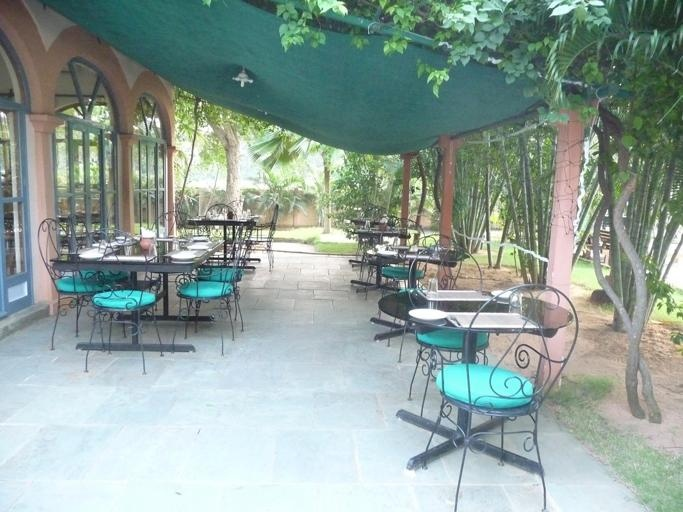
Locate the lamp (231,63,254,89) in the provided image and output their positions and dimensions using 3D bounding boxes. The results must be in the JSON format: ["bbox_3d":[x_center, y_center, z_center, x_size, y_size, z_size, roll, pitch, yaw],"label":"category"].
[{"bbox_3d":[-1.015,-1.829,5.604,0.173,0.075,0.280,6,-32,-2],"label":"lamp"}]

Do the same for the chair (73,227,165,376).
[{"bbox_3d":[-1.951,0.387,4.814,0.656,1.186,0.557,1,7,-3],"label":"chair"}]

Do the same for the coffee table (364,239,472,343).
[{"bbox_3d":[0.591,0.442,5.576,0.615,0.607,0.613,21,4,1],"label":"coffee table"}]

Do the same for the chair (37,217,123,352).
[{"bbox_3d":[-2.568,0.256,5.430,0.755,1.217,0.750,2,2,11],"label":"chair"}]

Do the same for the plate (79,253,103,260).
[{"bbox_3d":[-2.218,-0.008,4.800,0.191,0.041,0.167,0,7,-19],"label":"plate"}]

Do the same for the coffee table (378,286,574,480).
[{"bbox_3d":[0.849,0.712,3.554,0.889,1.163,0.942,1,8,-13],"label":"coffee table"}]

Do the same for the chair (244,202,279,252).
[{"bbox_3d":[-1.447,-0.452,10.627,0.447,0.719,0.407,-9,-9,15],"label":"chair"}]
